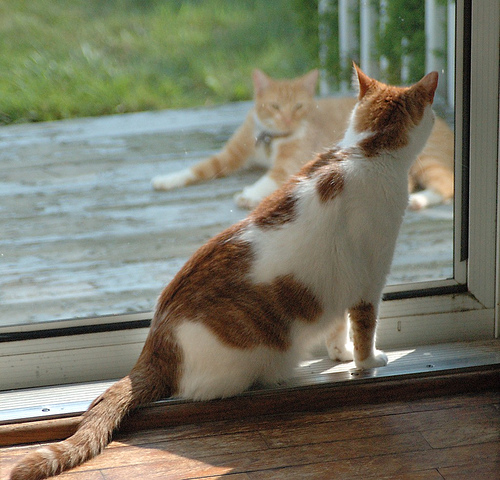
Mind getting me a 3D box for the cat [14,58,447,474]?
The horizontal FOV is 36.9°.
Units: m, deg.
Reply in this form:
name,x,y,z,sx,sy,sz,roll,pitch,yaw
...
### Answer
name,x,y,z,sx,sy,sz,roll,pitch,yaw
cat,0.001,0.042,1.906,1.178,0.797,0.348,-21,27,-27
